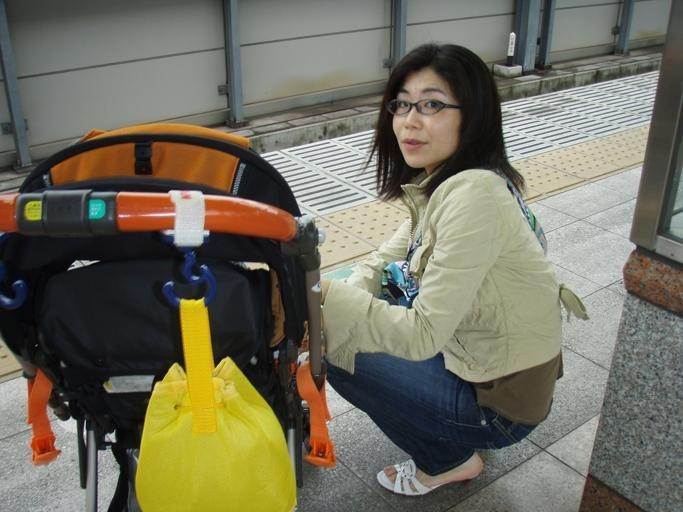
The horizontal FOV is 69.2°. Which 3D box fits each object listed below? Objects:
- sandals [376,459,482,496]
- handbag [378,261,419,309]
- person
[{"bbox_3d":[0.364,0.863,2.044,0.397,0.115,0.177,-7,13,-10],"label":"sandals"},{"bbox_3d":[0.248,0.121,2.094,0.106,0.196,0.063,-23,-29,37],"label":"handbag"},{"bbox_3d":[0.331,0.106,1.957,1.114,1.660,0.849,2,8,3],"label":"person"}]
